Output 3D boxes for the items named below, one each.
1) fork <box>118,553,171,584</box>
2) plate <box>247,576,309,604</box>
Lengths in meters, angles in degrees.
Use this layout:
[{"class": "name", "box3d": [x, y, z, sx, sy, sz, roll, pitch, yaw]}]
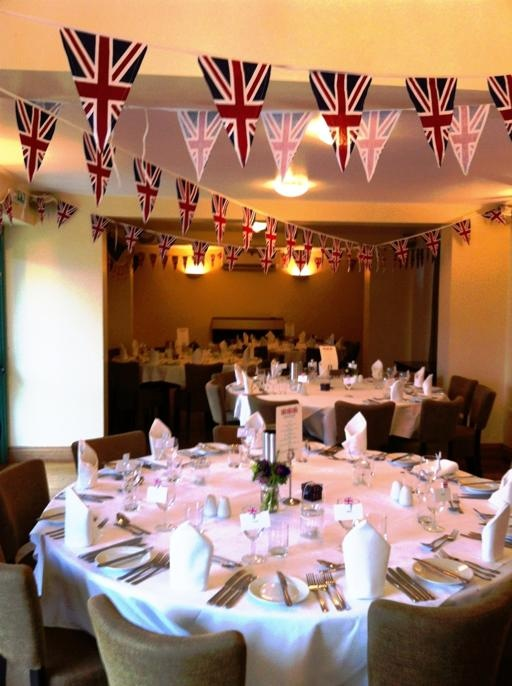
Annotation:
[{"class": "fork", "box3d": [-0.299, 0.623, 1.546, 0.037, 0.023, 0.151, 12, 13, 24]}, {"class": "plate", "box3d": [0.059, 0.634, 1.405, 0.153, 0.024, 0.147, 3, 1, 10]}]
